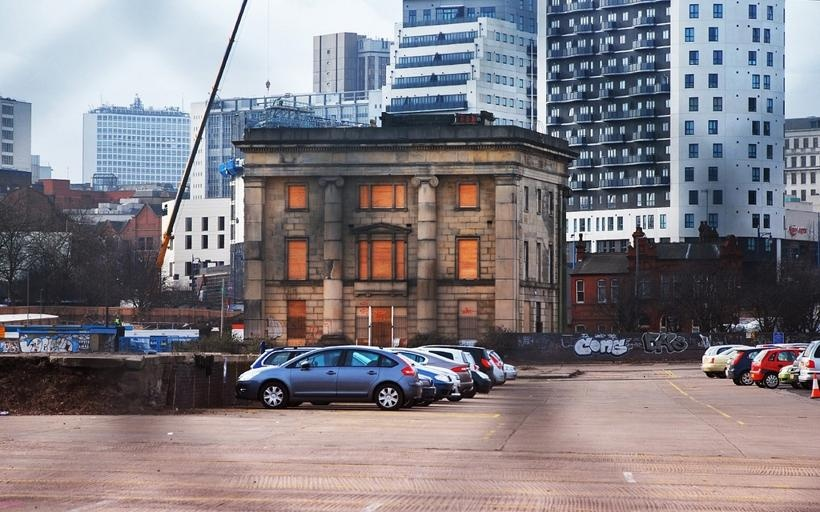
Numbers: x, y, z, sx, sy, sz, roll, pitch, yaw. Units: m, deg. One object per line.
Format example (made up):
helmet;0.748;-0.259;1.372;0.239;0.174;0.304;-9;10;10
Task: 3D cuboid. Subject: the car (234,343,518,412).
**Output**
car;-3.594;5.661;65.678;7.829;2.957;1.380;-1;-4;-6
